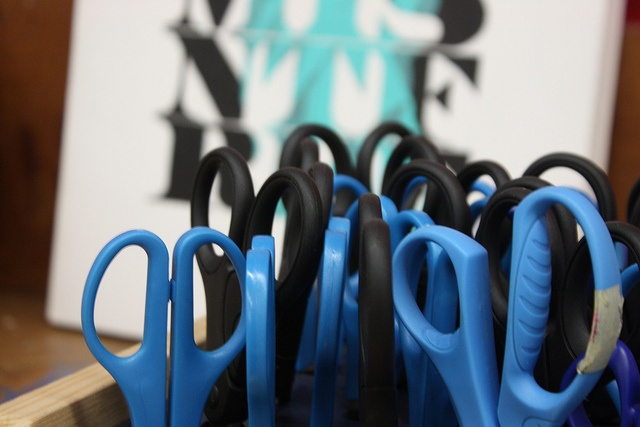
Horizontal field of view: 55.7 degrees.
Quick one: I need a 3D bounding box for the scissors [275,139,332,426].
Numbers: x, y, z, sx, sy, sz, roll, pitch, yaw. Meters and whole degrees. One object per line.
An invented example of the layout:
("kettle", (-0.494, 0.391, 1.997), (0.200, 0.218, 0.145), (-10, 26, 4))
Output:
("scissors", (-0.040, 0.120, 1.432), (0.062, 0.579, 0.272), (6, -6, -4))
